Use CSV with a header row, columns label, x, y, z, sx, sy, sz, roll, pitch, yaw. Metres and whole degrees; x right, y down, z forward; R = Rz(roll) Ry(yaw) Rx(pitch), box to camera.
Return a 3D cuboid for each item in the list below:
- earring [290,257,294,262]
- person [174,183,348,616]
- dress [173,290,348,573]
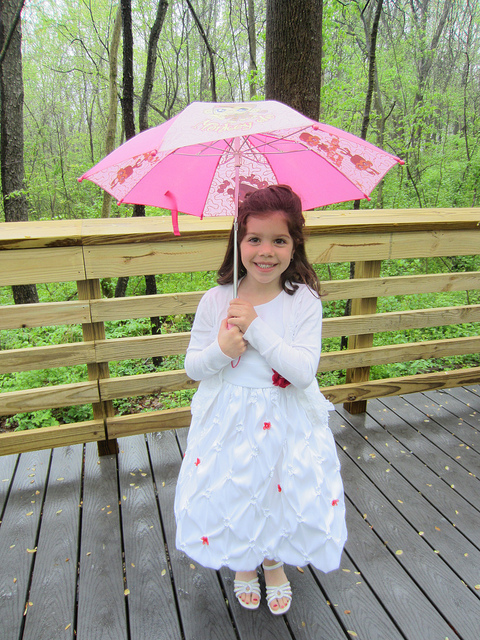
label,x,y,z,sx,sy,sz,roll,pitch,yaw
earring,0.154,-0.180,1.361,0.006,0.014,0.013,9,19,27
person,0.037,0.253,1.362,0.596,1.256,0.429,4,18,15
dress,0.042,0.313,1.431,0.519,0.774,0.532,5,19,-10
